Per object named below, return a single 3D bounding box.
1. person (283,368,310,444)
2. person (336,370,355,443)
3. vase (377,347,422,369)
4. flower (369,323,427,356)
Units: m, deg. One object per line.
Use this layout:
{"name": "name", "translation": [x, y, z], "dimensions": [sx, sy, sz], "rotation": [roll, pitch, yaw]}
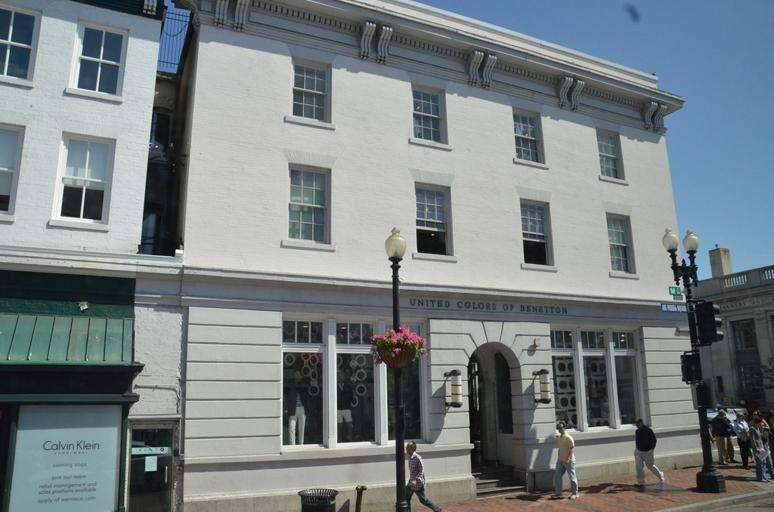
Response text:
{"name": "person", "translation": [-2.963, 4.934, 21.131], "dimensions": [0.695, 2.254, 0.207], "rotation": [1, -15, -14]}
{"name": "person", "translation": [-1.407, 4.994, 21.654], "dimensions": [0.554, 2.293, 0.298], "rotation": [0, -15, -12]}
{"name": "vase", "translation": [0.272, 2.819, 18.046], "dimensions": [0.821, 0.305, 0.818], "rotation": [-9, -16, 23]}
{"name": "flower", "translation": [0.262, 2.381, 18.383], "dimensions": [1.132, 0.573, 1.114], "rotation": [2, -9, -8]}
